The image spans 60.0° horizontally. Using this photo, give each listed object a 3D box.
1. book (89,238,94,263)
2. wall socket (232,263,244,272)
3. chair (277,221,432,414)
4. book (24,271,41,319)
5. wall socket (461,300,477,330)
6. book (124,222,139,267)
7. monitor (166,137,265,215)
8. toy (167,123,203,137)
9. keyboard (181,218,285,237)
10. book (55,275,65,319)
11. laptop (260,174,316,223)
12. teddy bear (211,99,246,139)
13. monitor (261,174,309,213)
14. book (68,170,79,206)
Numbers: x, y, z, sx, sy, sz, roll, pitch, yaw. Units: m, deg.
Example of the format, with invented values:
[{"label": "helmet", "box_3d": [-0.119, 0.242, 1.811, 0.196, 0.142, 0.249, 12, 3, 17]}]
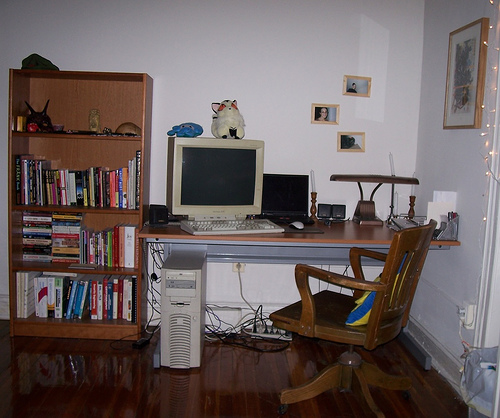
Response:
[{"label": "book", "box_3d": [-1.128, 0.284, 3.092, 0.020, 0.221, 0.154, 0, 3, -10]}, {"label": "wall socket", "box_3d": [-0.090, 0.441, 3.319, 0.066, 0.072, 0.016, 4, 8, 4]}, {"label": "chair", "box_3d": [0.660, 0.466, 2.856, 0.889, 1.489, 0.958, 6, 8, 32]}, {"label": "book", "box_3d": [-1.521, 0.604, 3.074, 0.225, 0.247, 0.038, -12, -15, 29]}, {"label": "wall socket", "box_3d": [1.278, 0.621, 2.537, 0.076, 0.185, 0.088, 8, 13, 28]}, {"label": "book", "box_3d": [-0.839, 0.263, 3.060, 0.079, 0.248, 0.243, 1, 5, -6]}, {"label": "monitor", "box_3d": [-0.214, -0.218, 2.913, 0.613, 0.509, 0.072, 0, 11, -11]}, {"label": "toy", "box_3d": [-0.465, -0.557, 3.044, 0.248, 0.096, 0.184, 2, 12, -2]}, {"label": "keyboard", "box_3d": [-0.129, 0.107, 2.821, 0.626, 0.048, 0.340, -1, 13, -16]}, {"label": "book", "box_3d": [-1.352, 0.630, 3.068, 0.058, 0.282, 0.064, 0, 11, -8]}, {"label": "laptop", "box_3d": [0.249, -0.119, 3.083, 0.374, 0.353, 0.284, -2, -17, 11]}, {"label": "teddy bear", "box_3d": [-0.158, -0.617, 3.116, 0.227, 0.321, 0.224, -5, -11, -16]}, {"label": "monitor", "box_3d": [0.260, -0.112, 3.177, 0.407, 0.338, 0.238, 2, 1, -2]}, {"label": "book", "box_3d": [-1.266, -0.155, 3.107, 0.072, 0.225, 0.221, 0, 2, -11]}]
